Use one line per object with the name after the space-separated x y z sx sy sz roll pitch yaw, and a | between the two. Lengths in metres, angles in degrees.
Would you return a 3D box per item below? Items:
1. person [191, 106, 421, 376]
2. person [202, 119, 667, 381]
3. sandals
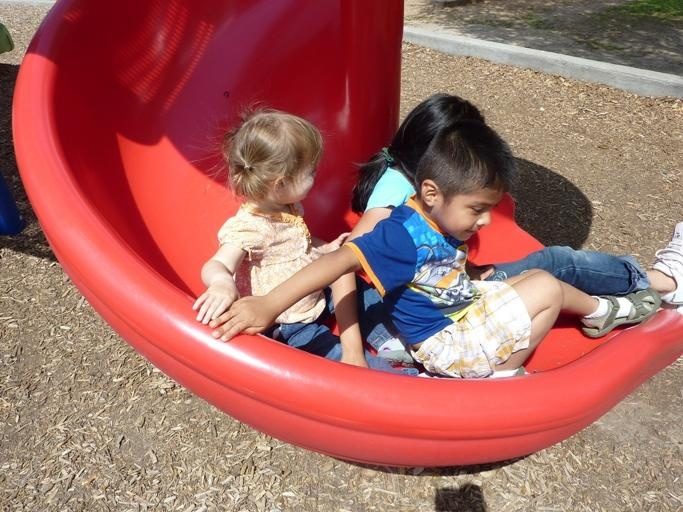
-0.083 -0.066 2.127 0.798 0.765 0.658 -1 14 -15 | person
0.366 0.021 2.000 1.600 0.725 0.538 -9 15 -24 | person
1.024 0.207 2.251 0.356 0.132 0.126 -14 71 3 | sandals
